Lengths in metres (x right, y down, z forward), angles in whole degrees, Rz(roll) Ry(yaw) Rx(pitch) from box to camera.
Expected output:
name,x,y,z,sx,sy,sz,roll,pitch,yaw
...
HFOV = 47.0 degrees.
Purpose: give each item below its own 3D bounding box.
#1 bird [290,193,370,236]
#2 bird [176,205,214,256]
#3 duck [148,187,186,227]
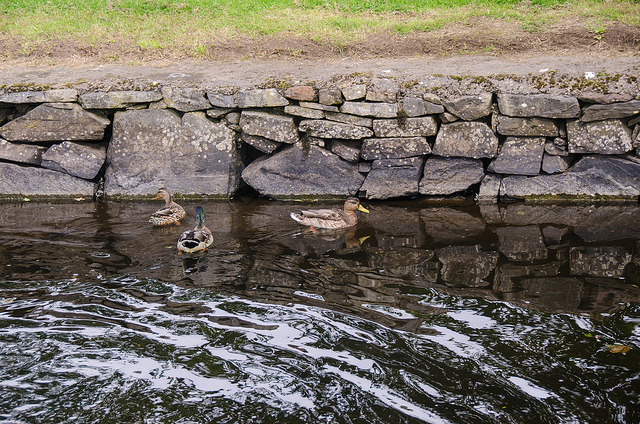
name,x,y,z,sx,sy,sz,roll,pitch,yaw
bird,0.250,0.099,15.548,1.616,0.756,0.706,7,12,21
bird,-2.362,0.419,14.614,0.763,0.636,1.086,5,14,7
duck,-3.247,-0.056,15.612,0.681,0.544,1.013,0,25,0
